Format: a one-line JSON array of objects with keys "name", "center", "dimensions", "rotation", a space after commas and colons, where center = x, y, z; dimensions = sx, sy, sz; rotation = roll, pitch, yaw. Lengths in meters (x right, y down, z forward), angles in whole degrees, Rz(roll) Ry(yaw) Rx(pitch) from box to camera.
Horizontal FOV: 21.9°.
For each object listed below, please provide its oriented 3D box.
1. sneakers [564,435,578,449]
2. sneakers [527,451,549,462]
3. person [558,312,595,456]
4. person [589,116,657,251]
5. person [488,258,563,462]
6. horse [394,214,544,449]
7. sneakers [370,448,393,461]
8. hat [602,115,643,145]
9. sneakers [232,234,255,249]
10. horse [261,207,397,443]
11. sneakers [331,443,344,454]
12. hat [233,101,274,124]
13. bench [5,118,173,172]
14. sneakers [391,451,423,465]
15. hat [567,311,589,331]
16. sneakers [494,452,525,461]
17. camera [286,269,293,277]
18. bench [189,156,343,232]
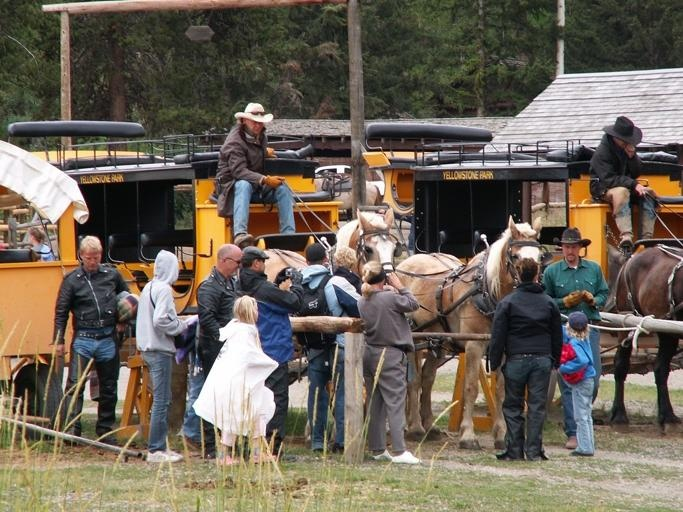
[{"name": "sneakers", "center": [3.990, 3.309, 30.807], "dimensions": [0.189, 0.234, 0.522], "rotation": [0, -8, 6]}, {"name": "sneakers", "center": [3.318, 3.454, 29.992], "dimensions": [0.135, 0.187, 0.412], "rotation": [1, 2, 40]}, {"name": "person", "center": [4.018, 2.226, 30.400], "dimensions": [0.538, 2.544, 0.855], "rotation": [-2, -4, 35]}, {"name": "person", "center": [5.268, -1.382, 33.191], "dimensions": [1.217, 2.718, 0.837], "rotation": [0, -3, 8]}, {"name": "person", "center": [3.112, 1.756, 30.040], "dimensions": [1.219, 3.547, 0.416], "rotation": [0, -3, 5]}, {"name": "horse", "center": [2.129, 1.545, 31.833], "dimensions": [1.124, 3.757, 4.524], "rotation": [3, -4, -29]}, {"name": "sneakers", "center": [0.661, 3.401, 29.677], "dimensions": [0.350, 0.181, 0.173], "rotation": [0, 2, 10]}, {"name": "hat", "center": [5.285, -2.341, 33.361], "dimensions": [0.616, 0.251, 0.541], "rotation": [39, 43, 18]}, {"name": "sneakers", "center": [-1.801, -0.303, 32.299], "dimensions": [0.173, 0.216, 0.476], "rotation": [6, -23, -32]}, {"name": "horse", "center": [-0.442, 0.464, 31.773], "dimensions": [3.223, 2.410, 0.854], "rotation": [0, 9, 39]}, {"name": "sneakers", "center": [-0.081, 3.331, 30.378], "dimensions": [0.134, 0.197, 0.250], "rotation": [-8, -9, 37]}, {"name": "hat", "center": [-1.756, -2.790, 33.725], "dimensions": [0.691, 0.344, 0.724], "rotation": [0, 4, -29]}, {"name": "bench", "center": [-5.409, -2.507, 37.124], "dimensions": [2.997, 0.996, 2.137], "rotation": [-3, 5, -18]}, {"name": "sneakers", "center": [1.065, 3.442, 29.518], "dimensions": [0.386, 0.184, 0.227], "rotation": [0, -4, 9]}, {"name": "hat", "center": [4.051, 1.137, 30.441], "dimensions": [0.238, 0.197, 0.353], "rotation": [1, 36, 7]}, {"name": "sneakers", "center": [2.819, 3.478, 29.988], "dimensions": [0.281, 0.124, 0.210], "rotation": [-4, -6, 24]}, {"name": "camera", "center": [-0.909, 0.282, 30.601], "dimensions": [0.124, 0.125, 0.112], "rotation": [5, -7, -40]}, {"name": "bench", "center": [-1.205, -1.395, 34.704], "dimensions": [2.188, 1.092, 1.627], "rotation": [3, 3, 35]}]
